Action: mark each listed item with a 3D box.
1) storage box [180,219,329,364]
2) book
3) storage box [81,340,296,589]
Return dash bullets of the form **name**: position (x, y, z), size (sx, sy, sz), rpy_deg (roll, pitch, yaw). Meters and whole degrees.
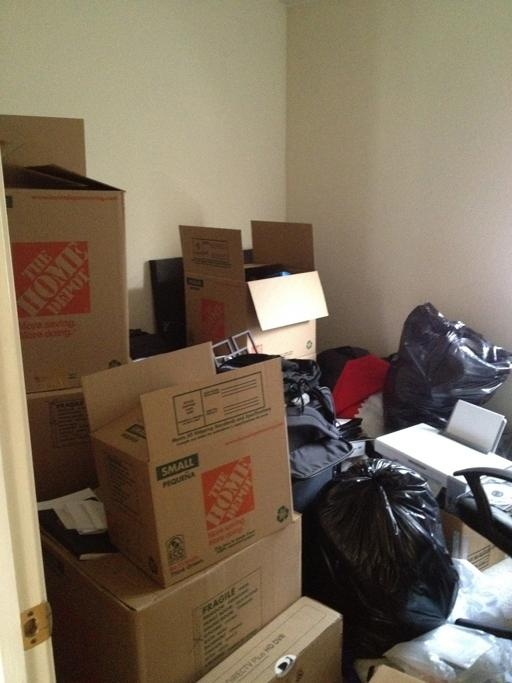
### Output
- **storage box**: position (-0.014, -0.226, 2.654), size (0.522, 0.687, 0.547), rpy_deg (15, 22, 36)
- **book**: position (-0.384, 0.395, 1.153), size (0.101, 0.040, 0.133), rpy_deg (-5, 21, -41)
- **storage box**: position (-0.128, 0.232, 1.109), size (0.341, 0.374, 0.222), rpy_deg (-13, 18, -36)
